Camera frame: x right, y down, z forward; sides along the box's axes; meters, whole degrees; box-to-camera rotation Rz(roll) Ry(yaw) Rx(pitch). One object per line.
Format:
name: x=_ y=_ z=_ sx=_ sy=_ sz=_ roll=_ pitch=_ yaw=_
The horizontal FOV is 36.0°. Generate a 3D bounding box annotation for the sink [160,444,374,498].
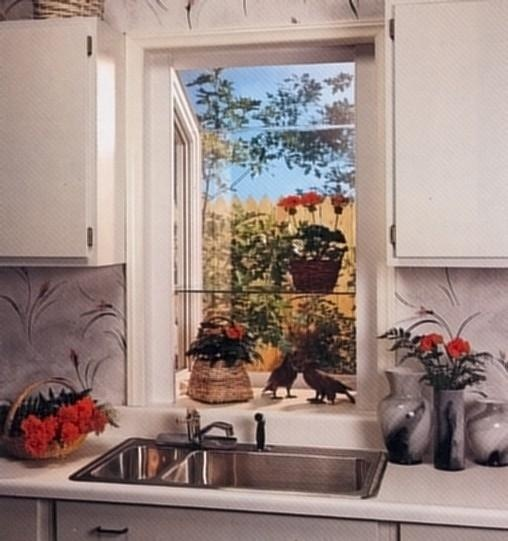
sink: x=0.016 y=0.575 z=2.231 sx=0.590 sy=0.112 sz=0.213 roll=-1 pitch=-1 yaw=-14

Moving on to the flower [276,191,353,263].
flower: x=0.204 y=-0.140 z=2.475 sx=0.214 sy=0.224 sz=0.091 roll=-1 pitch=0 yaw=12

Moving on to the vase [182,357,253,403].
vase: x=-0.108 y=0.340 z=2.516 sx=0.148 sy=0.105 sz=0.147 roll=3 pitch=-7 yaw=-31

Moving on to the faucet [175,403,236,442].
faucet: x=-0.145 y=0.454 z=2.337 sx=0.228 sy=0.105 sz=0.163 roll=-2 pitch=-1 yaw=20

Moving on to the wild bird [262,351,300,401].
wild bird: x=0.090 y=0.330 z=2.539 sx=0.079 sy=0.160 sz=0.138 roll=0 pitch=7 yaw=-18

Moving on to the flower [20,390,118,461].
flower: x=-0.525 y=0.434 z=2.232 sx=0.165 sy=0.184 sz=0.075 roll=0 pitch=-19 yaw=39

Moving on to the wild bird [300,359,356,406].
wild bird: x=0.231 y=0.356 z=2.476 sx=0.189 sy=0.126 sz=0.066 roll=7 pitch=-3 yaw=5

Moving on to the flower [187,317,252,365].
flower: x=-0.114 y=0.219 z=2.572 sx=0.230 sy=0.114 sz=0.208 roll=-9 pitch=8 yaw=-31
